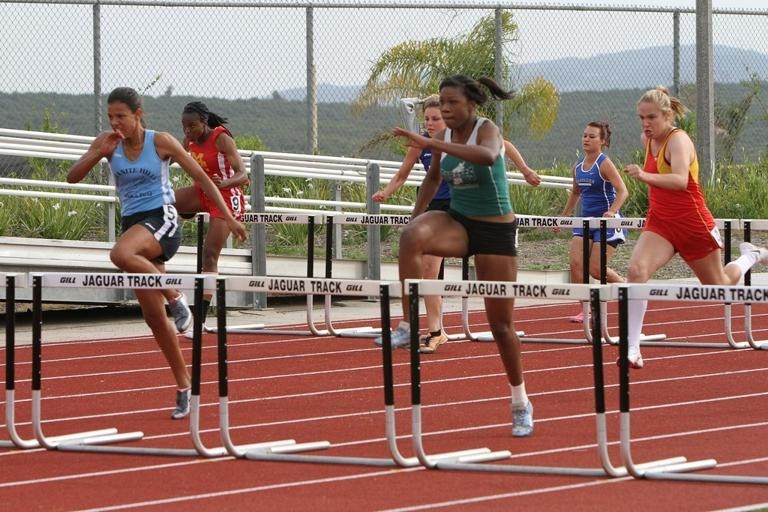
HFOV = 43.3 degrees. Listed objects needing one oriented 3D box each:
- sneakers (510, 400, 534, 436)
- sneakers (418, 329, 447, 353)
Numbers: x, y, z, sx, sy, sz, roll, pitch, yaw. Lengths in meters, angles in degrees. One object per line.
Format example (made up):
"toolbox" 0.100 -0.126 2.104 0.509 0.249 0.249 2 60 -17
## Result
"sneakers" 1.008 1.150 6.967 0.101 0.132 0.313 -5 26 11
"sneakers" 0.467 0.835 9.559 0.135 0.159 0.356 -17 16 47
